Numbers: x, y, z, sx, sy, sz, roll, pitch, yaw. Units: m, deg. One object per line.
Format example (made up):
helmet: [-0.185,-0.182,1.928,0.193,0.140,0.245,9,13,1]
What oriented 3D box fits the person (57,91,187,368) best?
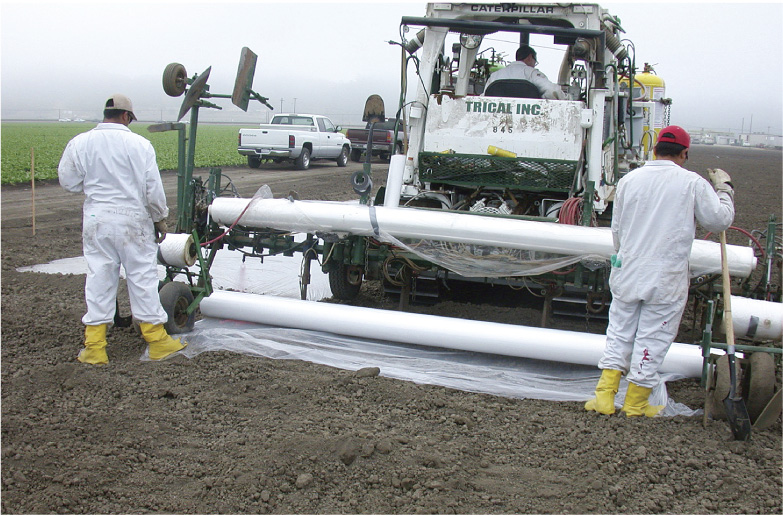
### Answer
person: [-2.813,-0.332,6.869,1.019,2.696,0.862,-3,12,-27]

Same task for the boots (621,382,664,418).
boots: [2.300,1.295,6.223,0.412,0.358,0.260,-3,14,-2]

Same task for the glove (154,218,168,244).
glove: [-2.515,-0.297,7.166,0.154,0.156,0.369,23,-21,-22]

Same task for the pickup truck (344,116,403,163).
pickup truck: [-0.909,-4.646,27.062,2.006,1.322,3.542,4,2,6]

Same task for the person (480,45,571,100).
person: [1.774,-2.471,8.735,1.016,0.652,0.572,18,27,34]

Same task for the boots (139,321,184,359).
boots: [-2.443,0.842,6.938,0.214,0.404,0.417,-28,39,-18]

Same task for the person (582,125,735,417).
person: [2.490,0.118,6.154,1.133,2.678,0.732,4,11,4]

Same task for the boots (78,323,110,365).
boots: [-3.041,0.862,6.697,0.267,0.385,0.234,-3,12,-27]

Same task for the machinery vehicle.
machinery vehicle: [0.957,-0.941,7.955,7.864,3.511,4.282,3,14,9]
